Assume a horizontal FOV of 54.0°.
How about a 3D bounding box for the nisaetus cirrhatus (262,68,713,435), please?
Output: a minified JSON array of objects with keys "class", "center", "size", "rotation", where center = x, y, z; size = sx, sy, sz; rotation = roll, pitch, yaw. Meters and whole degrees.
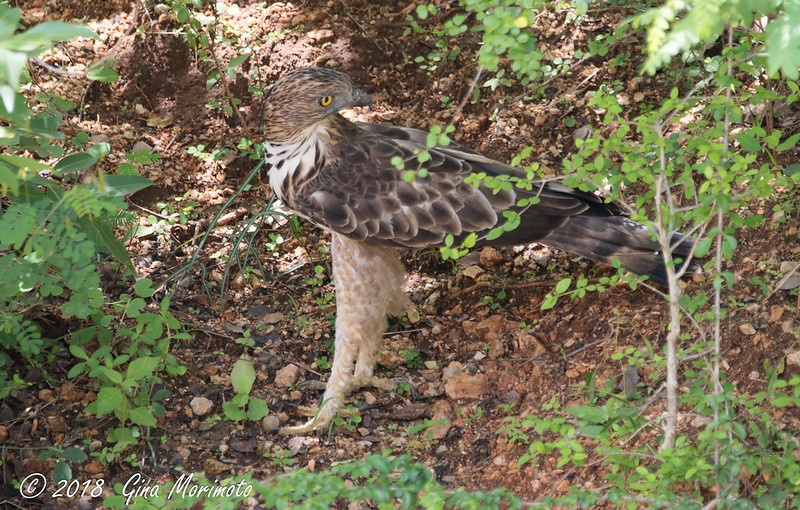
[{"class":"nisaetus cirrhatus","center":[0.283,-0.096,5.399],"size":[2.364,2.220,1.040],"rotation":[-1,23,-10]}]
